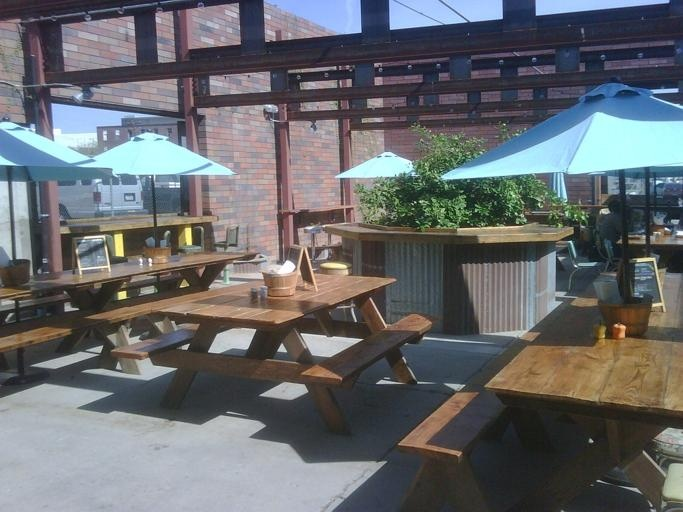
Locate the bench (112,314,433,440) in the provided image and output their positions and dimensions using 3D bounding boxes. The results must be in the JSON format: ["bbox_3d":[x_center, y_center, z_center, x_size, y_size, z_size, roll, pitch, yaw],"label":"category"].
[{"bbox_3d":[-0.297,0.842,4.648,1.412,0.271,1.376,2,3,26],"label":"bench"}]

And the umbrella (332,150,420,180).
[{"bbox_3d":[0.734,-1.730,10.626,1.127,0.493,1.216,-4,10,-15],"label":"umbrella"}]

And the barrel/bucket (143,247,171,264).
[{"bbox_3d":[-2.190,-0.004,6.641,0.246,0.135,0.264,0,-1,0],"label":"barrel/bucket"}]

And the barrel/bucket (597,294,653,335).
[{"bbox_3d":[1.796,0.378,3.548,0.348,0.146,0.276,0,-1,-3],"label":"barrel/bucket"}]

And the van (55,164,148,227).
[{"bbox_3d":[-4.839,-1.220,11.407,1.333,0.813,3.513,-1,3,6],"label":"van"}]

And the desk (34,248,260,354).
[{"bbox_3d":[-2.168,0.426,6.393,0.949,0.571,2.527,3,8,28],"label":"desk"}]

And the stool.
[{"bbox_3d":[-0.603,-0.460,11.370,0.490,0.730,1.897,1,6,27],"label":"stool"}]
